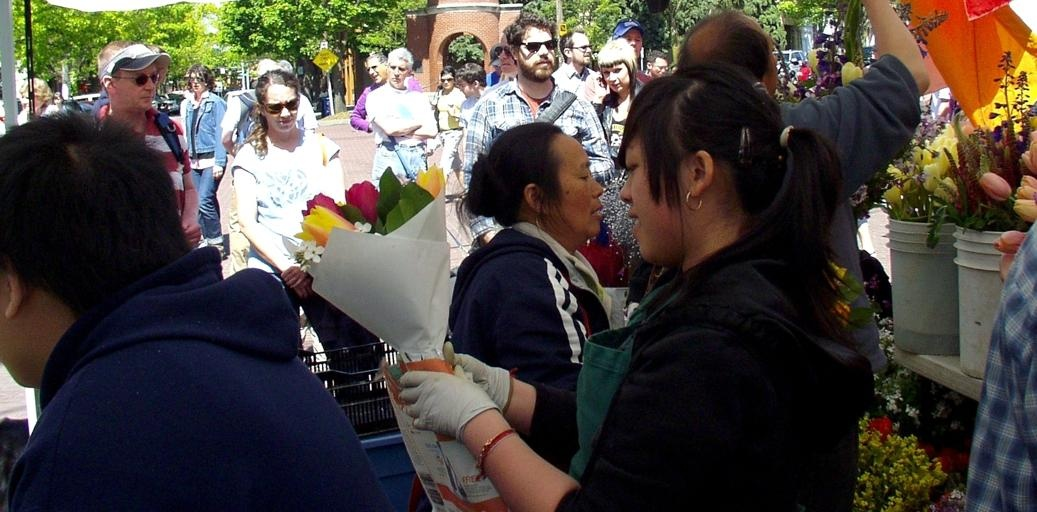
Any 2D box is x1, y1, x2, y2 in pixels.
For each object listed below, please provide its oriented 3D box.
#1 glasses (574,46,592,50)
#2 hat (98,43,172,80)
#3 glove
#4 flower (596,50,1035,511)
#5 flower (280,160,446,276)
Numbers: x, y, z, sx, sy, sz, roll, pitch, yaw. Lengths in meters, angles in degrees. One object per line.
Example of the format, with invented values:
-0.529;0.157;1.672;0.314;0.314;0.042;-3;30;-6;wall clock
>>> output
0.865;-2.777;8.642;0.126;0.033;0.127;-15;14;-43;glasses
-3.576;-1.798;5.959;0.524;0.177;0.364;-23;5;8;hat
-0.289;0.555;2.606;0.363;0.152;0.300;18;37;13;glove
1.045;0.166;2.358;1.645;1.738;0.466;-2;6;-1;flower
-0.625;-0.236;3.158;0.639;0.293;0.641;-25;-10;-7;flower
